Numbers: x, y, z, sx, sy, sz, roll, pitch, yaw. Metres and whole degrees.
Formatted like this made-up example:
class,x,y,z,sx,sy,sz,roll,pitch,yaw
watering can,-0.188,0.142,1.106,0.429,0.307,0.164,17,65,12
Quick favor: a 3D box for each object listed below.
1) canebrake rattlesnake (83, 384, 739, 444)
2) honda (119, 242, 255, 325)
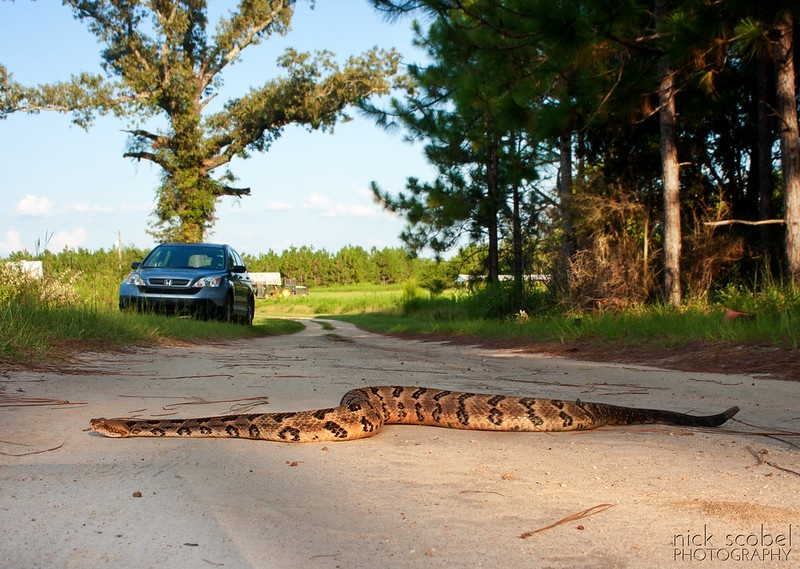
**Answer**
class,x,y,z,sx,sy,sz,roll,pitch,yaw
canebrake rattlesnake,0.124,1.787,11.964,8.080,0.512,0.823,1,10,-5
honda,-5.437,-0.044,23.585,3.023,2.391,5.480,1,-8,3
